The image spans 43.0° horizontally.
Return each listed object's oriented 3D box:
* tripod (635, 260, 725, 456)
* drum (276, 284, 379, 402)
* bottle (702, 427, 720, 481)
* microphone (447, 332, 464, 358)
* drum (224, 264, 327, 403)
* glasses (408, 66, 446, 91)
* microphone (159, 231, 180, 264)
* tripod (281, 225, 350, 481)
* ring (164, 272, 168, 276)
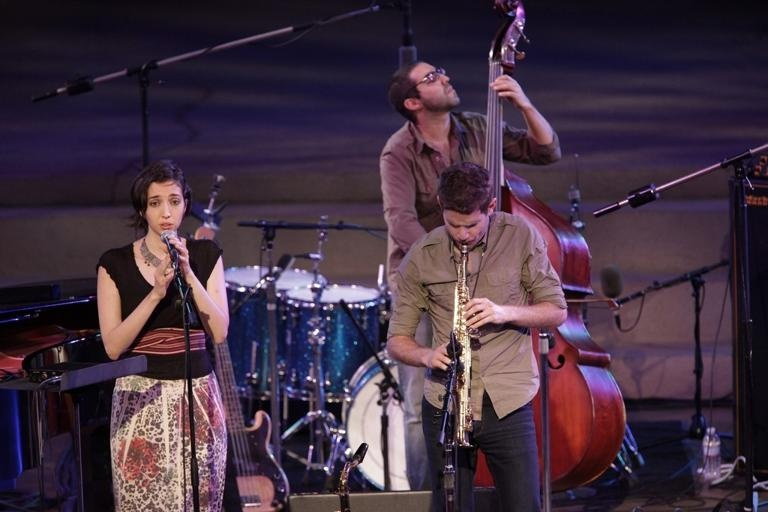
[{"bbox_3d":[2.744,0.887,8.787,1.031,1.622,1.127,-3,-2,37],"label":"tripod"},{"bbox_3d":[-0.501,0.902,8.865,0.862,0.930,0.934,-7,-19,43],"label":"drum"},{"bbox_3d":[2.743,1.678,8.203,0.158,0.439,0.298,-8,-13,23],"label":"bottle"},{"bbox_3d":[0.460,0.544,6.102,0.096,0.166,0.170,-3,-19,6],"label":"microphone"},{"bbox_3d":[-1.126,0.674,8.972,1.083,1.083,0.999,0,5,-19],"label":"drum"},{"bbox_3d":[0.316,-1.354,7.316,0.186,0.059,0.161,-25,0,30],"label":"glasses"},{"bbox_3d":[-1.378,-0.060,6.267,0.081,0.235,0.082,-17,-7,-11],"label":"microphone"},{"bbox_3d":[-0.677,0.842,8.568,0.484,2.185,1.265,-1,-12,-8],"label":"tripod"},{"bbox_3d":[-1.413,0.116,6.271,0.018,0.027,0.006,1,7,-4],"label":"ring"}]
